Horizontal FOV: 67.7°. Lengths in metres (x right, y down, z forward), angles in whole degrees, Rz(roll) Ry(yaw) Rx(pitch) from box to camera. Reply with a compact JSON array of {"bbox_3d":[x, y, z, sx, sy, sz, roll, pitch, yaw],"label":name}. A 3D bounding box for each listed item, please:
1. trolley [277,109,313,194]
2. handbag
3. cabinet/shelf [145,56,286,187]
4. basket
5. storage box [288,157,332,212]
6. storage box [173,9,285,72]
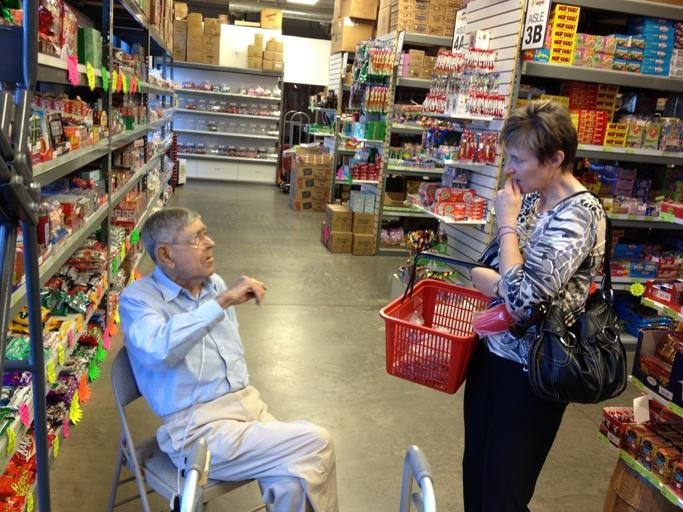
[{"bbox_3d":[-1.009,-2.985,14.132,0.835,2.338,0.817,0,20,32],"label":"trolley"},{"bbox_3d":[0.798,0.315,1.739,0.351,0.444,0.139,5,-4,-14],"label":"handbag"},{"bbox_3d":[-3.028,-3.126,12.788,2.454,2.709,0.812,1,6,-11],"label":"cabinet/shelf"},{"bbox_3d":[0.384,0.222,2.084,0.329,0.469,0.445,11,23,38],"label":"basket"},{"bbox_3d":[-0.666,-1.402,10.291,0.807,1.220,1.155,0,11,-8],"label":"storage box"},{"bbox_3d":[-2.735,-5.272,12.284,2.597,1.523,1.056,-4,16,-20],"label":"storage box"}]
